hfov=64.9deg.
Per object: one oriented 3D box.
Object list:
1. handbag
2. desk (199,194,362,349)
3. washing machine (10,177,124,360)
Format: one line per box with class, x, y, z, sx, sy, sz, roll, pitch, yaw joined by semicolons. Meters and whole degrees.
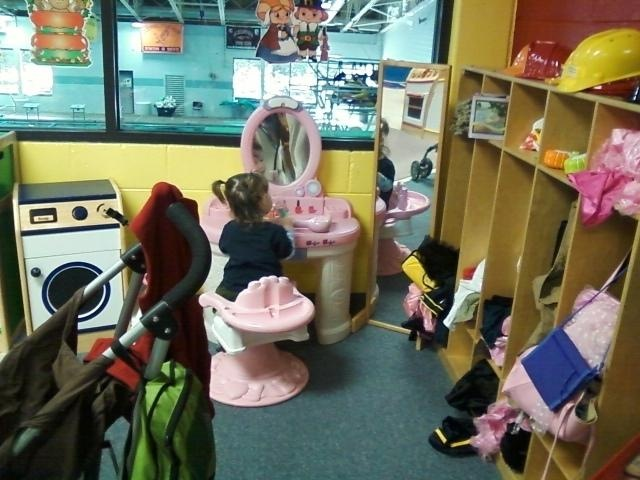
handbag;0.868;0.406;1.765;0.201;0.527;0.401;22;5;-25
desk;-0.257;0.192;3.230;0.972;0.907;0.748;0;21;-11
washing machine;-1.524;0.145;3.081;0.573;0.939;0.548;-4;17;-25
